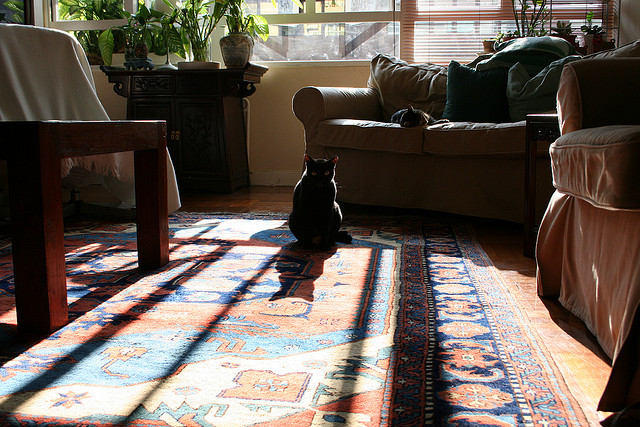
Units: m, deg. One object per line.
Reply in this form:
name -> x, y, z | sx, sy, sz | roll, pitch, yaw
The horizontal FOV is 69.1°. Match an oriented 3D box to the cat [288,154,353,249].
cat -> 0.015, -0.043, 2.285 | 0.350, 0.437, 0.418 | 0, -1, -6

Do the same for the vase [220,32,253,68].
vase -> -0.655, -1.312, 3.794 | 0.300, 0.262, 0.294 | 0, 15, -3

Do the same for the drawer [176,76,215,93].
drawer -> -1.017, -1.054, 3.786 | 0.319, 0.128, 0.027 | 3, 16, 10

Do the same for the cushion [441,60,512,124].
cushion -> 1.042, -0.778, 3.015 | 0.484, 0.413, 0.188 | 16, 30, 31

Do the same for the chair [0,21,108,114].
chair -> -1.439, -0.743, 2.467 | 0.558, 0.264, 0.561 | -12, 21, -13

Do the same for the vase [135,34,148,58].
vase -> -1.489, -1.392, 3.862 | 0.100, 0.185, 0.083 | -6, 16, -19

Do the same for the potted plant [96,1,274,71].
potted plant -> -1.201, -1.523, 3.936 | 1.366, 0.527, 0.777 | 0, 30, -2

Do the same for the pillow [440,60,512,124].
pillow -> 1.028, -0.784, 3.021 | 0.472, 0.388, 0.180 | 19, 27, 40

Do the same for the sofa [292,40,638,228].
sofa -> 0.734, -0.409, 2.479 | 1.463, 0.780, 0.702 | 7, 21, 21

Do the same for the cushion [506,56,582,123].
cushion -> 1.260, -0.695, 2.833 | 0.398, 0.395, 0.465 | -3, 6, -44

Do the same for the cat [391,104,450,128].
cat -> 0.568, -0.568, 2.850 | 0.394, 0.132, 0.198 | 3, 1, 44
